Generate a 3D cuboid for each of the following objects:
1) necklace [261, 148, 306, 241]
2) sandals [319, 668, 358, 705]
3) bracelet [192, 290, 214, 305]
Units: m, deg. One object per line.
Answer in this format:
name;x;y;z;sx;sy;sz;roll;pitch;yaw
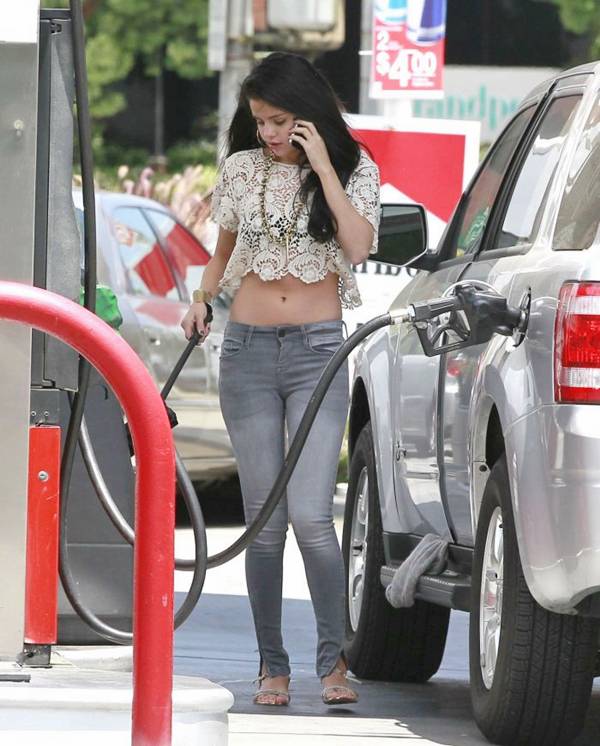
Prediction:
necklace;-0.058;-0.520;4.190;0.104;0.231;0.041;9;-6;18
sandals;0.113;0.947;4.305;0.054;0.081;0.177;-2;-17;-5
bracelet;-0.315;-0.241;4.390;0.040;0.053;0.050;-3;9;-3
